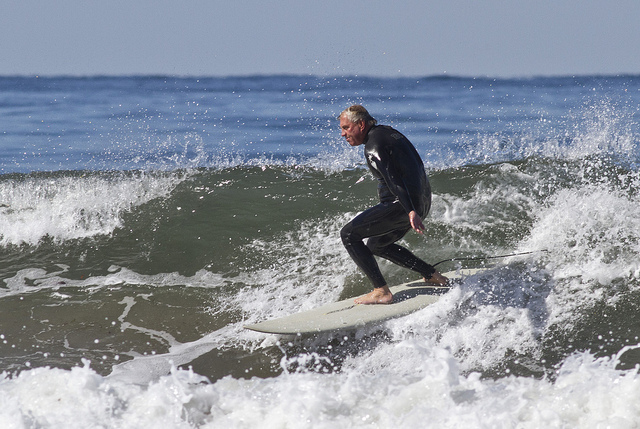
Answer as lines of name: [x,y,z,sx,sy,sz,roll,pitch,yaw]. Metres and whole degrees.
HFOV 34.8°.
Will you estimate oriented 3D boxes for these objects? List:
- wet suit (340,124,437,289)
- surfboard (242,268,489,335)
wet suit: [1.034,-0.159,16.605,1.578,2.488,1.098,-4,5,-10]
surfboard: [0.902,1.509,16.792,4.870,0.412,0.931,-11,21,-28]
